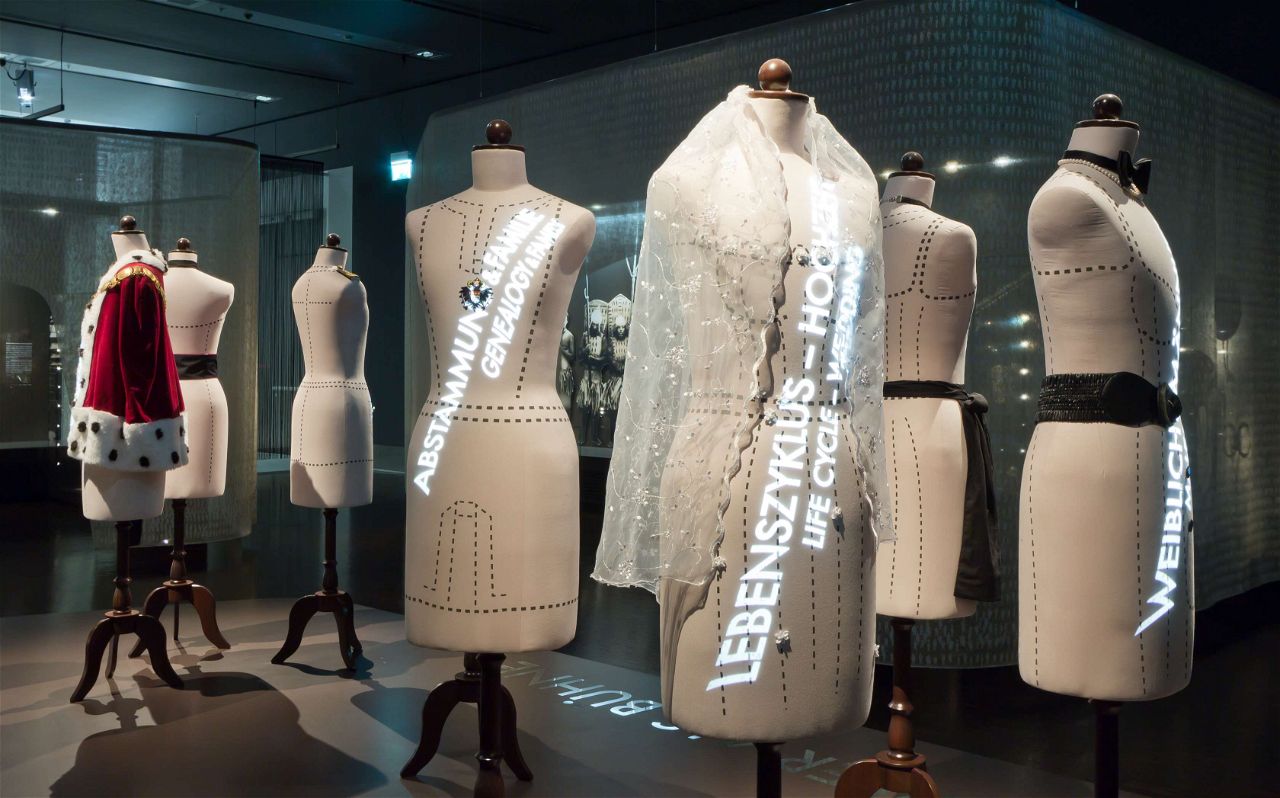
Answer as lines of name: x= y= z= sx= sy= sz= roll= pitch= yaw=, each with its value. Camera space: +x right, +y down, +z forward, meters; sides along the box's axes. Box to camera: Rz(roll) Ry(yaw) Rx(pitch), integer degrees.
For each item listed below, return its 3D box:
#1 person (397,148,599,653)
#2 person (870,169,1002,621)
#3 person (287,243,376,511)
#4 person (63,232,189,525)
person: x=-0.816 y=-0.014 z=6.686 sx=1.023 sy=2.718 sz=0.797 roll=-1 pitch=13 yaw=-4
person: x=1.715 y=-0.070 z=6.922 sx=0.690 sy=2.617 sz=0.818 roll=2 pitch=13 yaw=10
person: x=-2.259 y=-0.180 z=8.634 sx=0.584 sy=1.903 sz=0.683 roll=-3 pitch=13 yaw=-13
person: x=-3.501 y=-0.129 z=8.083 sx=0.752 sy=1.901 sz=0.658 roll=-9 pitch=16 yaw=-34
